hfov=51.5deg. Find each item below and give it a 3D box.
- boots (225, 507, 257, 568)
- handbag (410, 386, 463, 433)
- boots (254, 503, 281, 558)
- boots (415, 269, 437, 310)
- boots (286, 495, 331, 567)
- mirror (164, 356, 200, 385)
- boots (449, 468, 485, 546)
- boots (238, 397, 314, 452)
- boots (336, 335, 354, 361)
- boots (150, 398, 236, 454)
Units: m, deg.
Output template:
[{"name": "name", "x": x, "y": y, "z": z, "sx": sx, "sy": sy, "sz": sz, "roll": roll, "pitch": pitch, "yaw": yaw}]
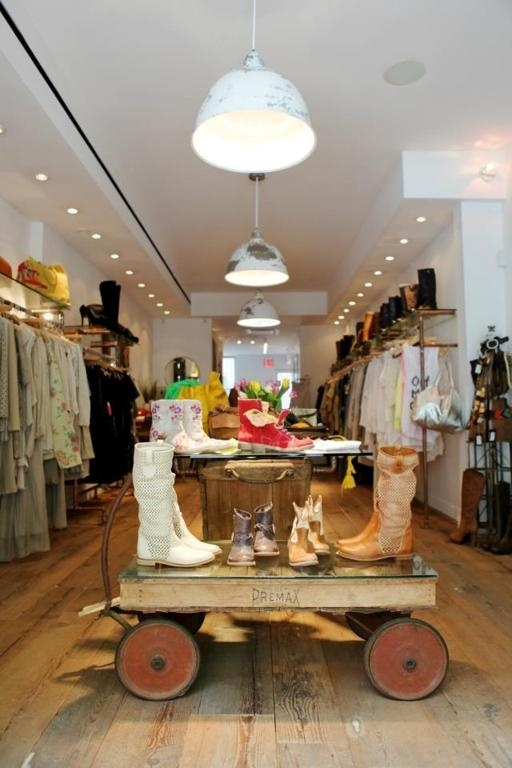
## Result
[{"name": "boots", "x": -0.049, "y": 0.491, "z": 1.701, "sx": 0.077, "sy": 0.146, "sz": 0.214, "roll": -1, "pitch": -1, "yaw": 0}, {"name": "handbag", "x": 1.341, "y": 0.184, "z": 3.899, "sx": 0.335, "sy": 0.331, "sz": 0.206, "roll": 8, "pitch": 3, "yaw": 26}, {"name": "boots", "x": 0.034, "y": 0.486, "z": 1.782, "sx": 0.081, "sy": 0.150, "sz": 0.222, "roll": 0, "pitch": -4, "yaw": 0}, {"name": "boots", "x": 1.437, "y": -0.782, "z": 4.488, "sx": 0.166, "sy": 0.376, "sz": 0.401, "roll": -2, "pitch": -5, "yaw": 20}, {"name": "boots", "x": 0.162, "y": 0.490, "z": 1.741, "sx": 0.108, "sy": 0.152, "sz": 0.221, "roll": -1, "pitch": -13, "yaw": 1}, {"name": "mirror", "x": -1.160, "y": -0.213, "z": 8.361, "sx": 0.519, "sy": 0.589, "sz": 0.057, "roll": 1, "pitch": -6, "yaw": -2}, {"name": "boots", "x": 1.419, "y": 0.806, "z": 3.539, "sx": 0.219, "sy": 0.476, "sz": 0.243, "roll": -4, "pitch": -6, "yaw": 39}, {"name": "boots", "x": 0.067, "y": 0.153, "z": 1.912, "sx": 0.251, "sy": 0.169, "sz": 0.152, "roll": 2, "pitch": 1, "yaw": -4}, {"name": "boots", "x": 1.363, "y": -0.549, "z": 8.189, "sx": 0.107, "sy": 0.416, "sz": 0.211, "roll": 16, "pitch": 12, "yaw": -8}, {"name": "boots", "x": -0.168, "y": 0.138, "z": 1.759, "sx": 0.318, "sy": 0.201, "sz": 0.134, "roll": 0, "pitch": -4, "yaw": 5}]
